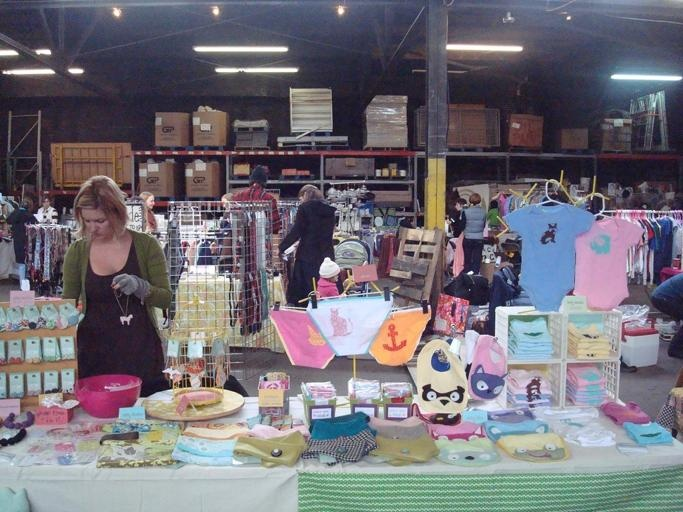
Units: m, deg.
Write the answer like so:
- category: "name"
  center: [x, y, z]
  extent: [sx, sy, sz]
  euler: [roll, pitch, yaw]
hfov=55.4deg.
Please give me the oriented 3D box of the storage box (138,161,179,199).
- category: "storage box"
  center: [-3.725, -1.450, 13.259]
  extent: [0.655, 0.886, 0.888]
  euler: [0, 3, -2]

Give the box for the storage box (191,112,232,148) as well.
- category: "storage box"
  center: [-2.807, -2.621, 13.497]
  extent: [0.521, 0.708, 0.996]
  euler: [-2, 6, -12]

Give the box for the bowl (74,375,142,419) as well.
- category: "bowl"
  center: [-1.341, 0.795, 3.719]
  extent: [0.250, 0.141, 0.272]
  euler: [0, -2, 0]

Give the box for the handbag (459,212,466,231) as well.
- category: "handbag"
  center: [1.943, -0.588, 10.485]
  extent: [0.166, 0.239, 0.079]
  euler: [-1, 3, -8]

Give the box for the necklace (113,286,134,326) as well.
- category: "necklace"
  center: [-1.315, 0.313, 3.934]
  extent: [0.096, 0.216, 0.028]
  euler: [-1, 3, -9]

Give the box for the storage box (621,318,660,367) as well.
- category: "storage box"
  center: [3.049, 0.880, 6.755]
  extent: [0.309, 0.478, 0.438]
  euler: [-2, -1, 1]

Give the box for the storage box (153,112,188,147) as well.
- category: "storage box"
  center: [-3.585, -2.776, 13.265]
  extent: [0.566, 0.699, 0.770]
  euler: [-8, 40, -26]

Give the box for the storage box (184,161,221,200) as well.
- category: "storage box"
  center: [-2.760, -1.537, 13.194]
  extent: [0.677, 0.684, 0.541]
  euler: [0, 6, 10]

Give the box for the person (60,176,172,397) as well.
- category: "person"
  center: [-1.372, 0.196, 3.961]
  extent: [0.635, 1.352, 0.260]
  euler: [-2, 3, -16]

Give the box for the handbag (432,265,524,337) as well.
- category: "handbag"
  center: [1.349, 0.399, 6.382]
  extent: [0.740, 0.778, 0.551]
  euler: [5, 4, 11]

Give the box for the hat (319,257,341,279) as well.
- category: "hat"
  center: [-0.119, 0.108, 6.074]
  extent: [0.173, 0.154, 0.176]
  euler: [-8, 5, -25]

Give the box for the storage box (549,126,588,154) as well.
- category: "storage box"
  center: [5.142, -2.598, 14.706]
  extent: [0.543, 0.406, 0.566]
  euler: [0, 1, 6]

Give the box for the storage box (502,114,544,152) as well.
- category: "storage box"
  center: [4.038, -2.758, 14.558]
  extent: [0.888, 0.857, 0.329]
  euler: [0, 3, -13]
